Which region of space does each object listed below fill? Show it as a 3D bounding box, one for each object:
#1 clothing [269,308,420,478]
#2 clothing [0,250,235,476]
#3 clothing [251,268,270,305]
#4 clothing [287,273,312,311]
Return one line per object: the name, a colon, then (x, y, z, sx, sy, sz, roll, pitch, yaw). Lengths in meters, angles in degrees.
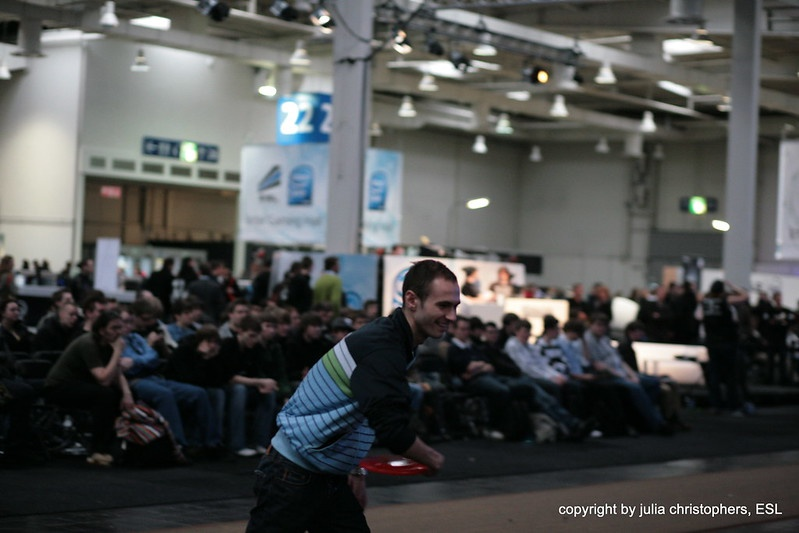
clothing: (-0.307, 0.900, 7.922, 1.053, 1.229, 0.411, 11, 12, 21)
clothing: (-3.306, 1.551, 13.088, 2.398, 2.301, 1.613, -10, -2, 9)
clothing: (-1.760, 0.243, 14.164, 0.167, 0.380, 0.314, 12, -4, -9)
clothing: (-1.372, 0.323, 15.074, 0.353, 0.504, 0.543, 2, 2, -22)
